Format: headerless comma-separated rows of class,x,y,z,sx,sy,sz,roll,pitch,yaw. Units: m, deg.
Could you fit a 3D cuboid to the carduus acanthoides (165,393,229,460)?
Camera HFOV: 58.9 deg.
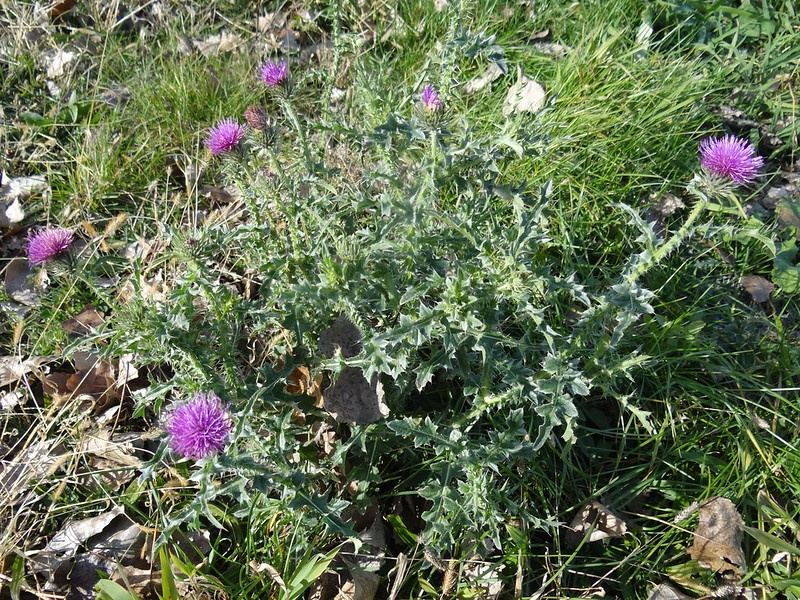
carduus acanthoides,-0.851,0.529,3.009,0.270,0.193,0.298,-6,83,1

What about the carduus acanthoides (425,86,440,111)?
carduus acanthoides,0.144,-0.923,3.247,0.065,0.102,0.103,-10,97,0
